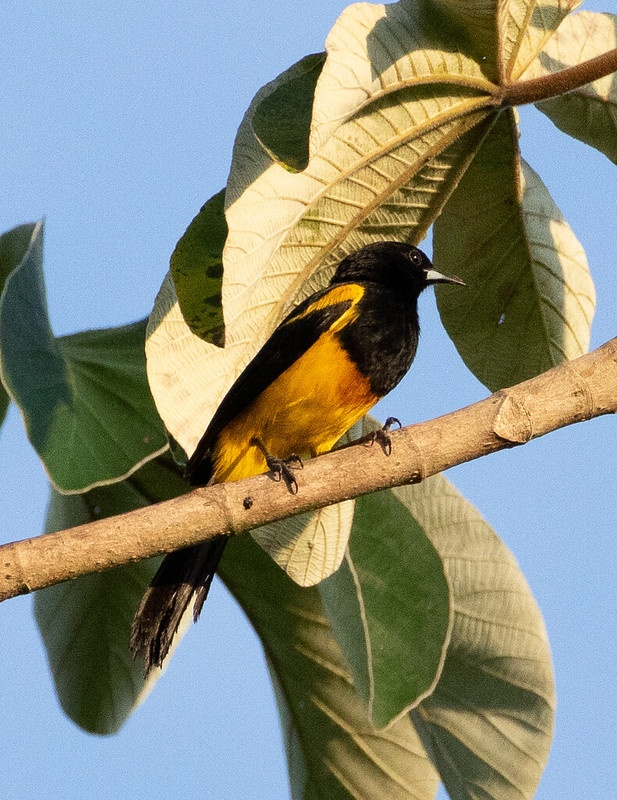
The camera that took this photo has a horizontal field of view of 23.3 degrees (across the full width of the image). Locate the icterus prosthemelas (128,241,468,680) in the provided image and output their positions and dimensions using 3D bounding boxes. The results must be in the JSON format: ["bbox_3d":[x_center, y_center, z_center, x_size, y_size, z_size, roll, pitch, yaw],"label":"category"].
[{"bbox_3d":[-0.075,0.143,6.195,1.377,1.570,0.548,-6,-23,20],"label":"icterus prosthemelas"}]
